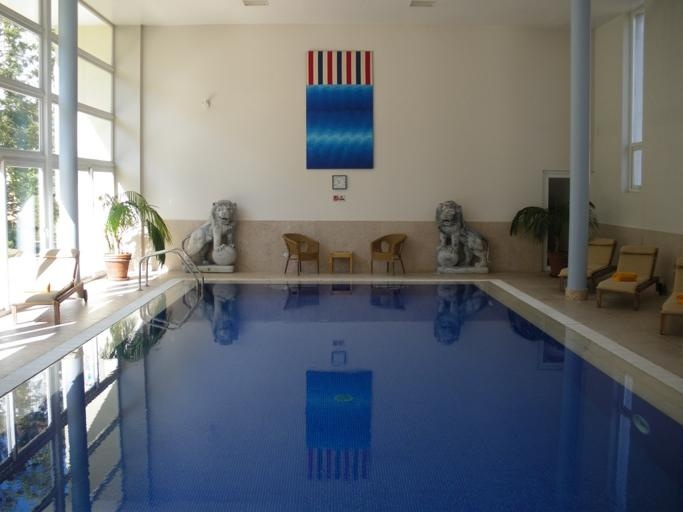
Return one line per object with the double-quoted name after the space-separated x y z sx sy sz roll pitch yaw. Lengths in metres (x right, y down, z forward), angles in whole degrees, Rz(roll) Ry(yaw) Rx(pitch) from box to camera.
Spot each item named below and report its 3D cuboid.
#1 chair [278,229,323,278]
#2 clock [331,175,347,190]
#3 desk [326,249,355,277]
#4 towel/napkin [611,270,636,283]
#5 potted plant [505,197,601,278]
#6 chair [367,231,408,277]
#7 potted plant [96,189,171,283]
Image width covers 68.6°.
-0.937 -0.016 11.492 0.847 0.931 0.941 -1 8 -4 "chair"
-0.069 -1.749 11.767 0.273 0.314 0.111 1 5 5 "clock"
-0.014 0.157 11.713 0.568 0.496 0.405 0 8 0 "desk"
4.573 0.344 8.122 0.369 0.115 0.250 2 9 13 "towel/napkin"
4.948 -0.369 11.928 1.534 1.808 1.677 3 0 17 "potted plant"
1.025 -0.077 11.452 0.848 1.203 0.832 -1 -2 31 "chair"
-4.611 -0.454 11.228 1.803 2.161 1.684 5 9 17 "potted plant"
